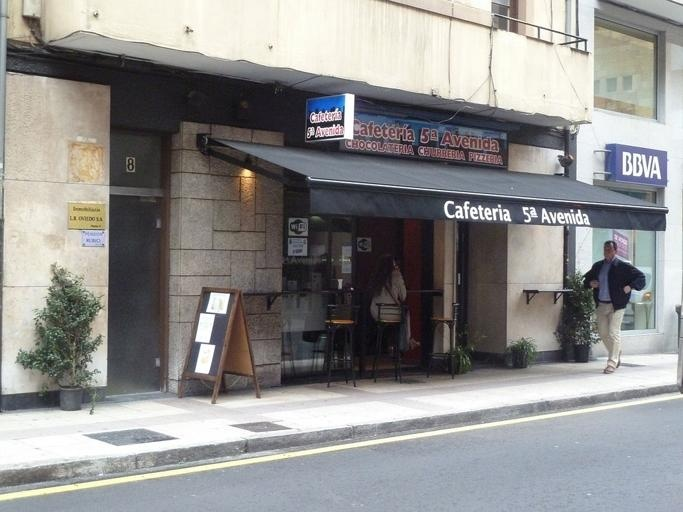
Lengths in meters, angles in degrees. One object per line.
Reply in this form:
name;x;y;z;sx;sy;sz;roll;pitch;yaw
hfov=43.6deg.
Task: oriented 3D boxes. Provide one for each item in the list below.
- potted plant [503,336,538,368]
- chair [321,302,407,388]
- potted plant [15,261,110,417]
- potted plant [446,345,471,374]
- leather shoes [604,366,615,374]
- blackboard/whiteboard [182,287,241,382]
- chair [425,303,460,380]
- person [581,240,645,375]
potted plant;3.585;1.914;16.962;0.537;0.496;0.554;0;1;5
chair;0.340;1.570;15.139;1.330;1.325;0.586;0;1;-15
potted plant;-3.937;1.149;11.963;1.101;2.044;0.745;0;5;-17
potted plant;2.186;1.960;15.975;0.452;0.562;0.457;2;-6;-23
leather shoes;5.074;2.165;16.127;0.098;0.110;0.255;-4;-8;34
blackboard/whiteboard;-1.963;1.153;12.753;0.810;1.309;0.370;5;6;40
chair;1.884;1.522;16.011;0.562;1.340;0.569;2;-2;-3
person;5.214;0.972;16.406;0.659;2.461;1.126;0;5;-17
